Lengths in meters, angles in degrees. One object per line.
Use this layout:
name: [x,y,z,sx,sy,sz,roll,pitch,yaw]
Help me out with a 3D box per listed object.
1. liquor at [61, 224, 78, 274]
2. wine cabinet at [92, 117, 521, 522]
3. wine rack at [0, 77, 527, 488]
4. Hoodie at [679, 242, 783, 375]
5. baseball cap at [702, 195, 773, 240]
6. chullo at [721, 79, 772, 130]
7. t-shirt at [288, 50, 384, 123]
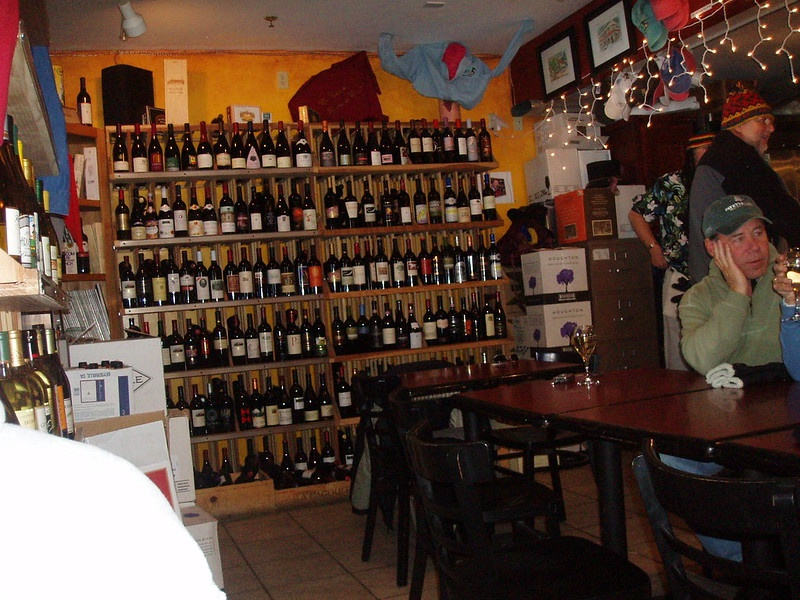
liquor: [-2.149,-0.344,4.156,0.094,0.401,0.092,-2,-18,-36]
wine cabinet: [-0.708,0.060,4.137,2.567,2.514,0.768,-4,2,-13]
wine rack: [-0.808,-0.123,3.924,2.833,2.553,0.754,-3,1,-14]
Hoodie: [1.227,0.097,2.373,0.356,0.186,0.509,-6,40,19]
baseball cap: [1.264,-0.337,2.442,0.194,0.137,0.268,-15,2,5]
chullo: [1.848,-1.037,3.532,0.239,0.208,0.242,-14,2,-7]
t-shirt: [-0.470,-1.678,5.389,0.682,0.718,0.229,-20,-11,7]
